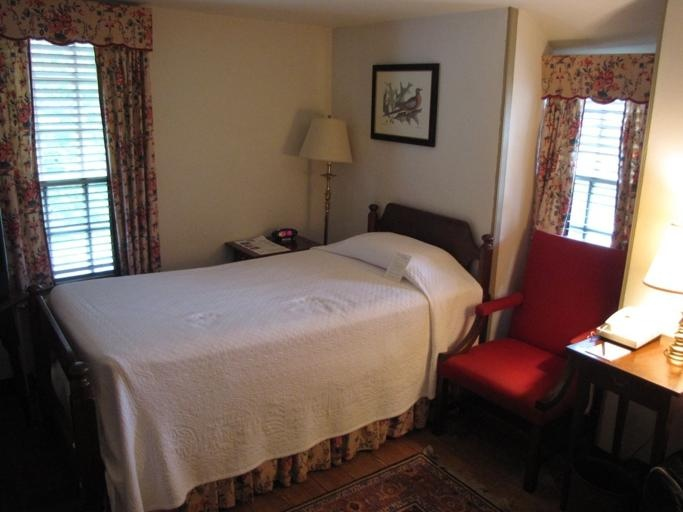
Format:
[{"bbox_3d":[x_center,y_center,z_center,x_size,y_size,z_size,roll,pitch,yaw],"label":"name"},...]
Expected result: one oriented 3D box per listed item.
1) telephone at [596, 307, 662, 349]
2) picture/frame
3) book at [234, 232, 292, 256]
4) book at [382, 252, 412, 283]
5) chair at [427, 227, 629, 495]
[{"bbox_3d":[1.666,0.389,3.223,0.248,0.349,0.105,9,51,49],"label":"telephone"},{"bbox_3d":[0.523,-1.225,4.416,0.047,0.609,0.633,-10,22,-39],"label":"picture/frame"},{"bbox_3d":[-0.732,-0.077,4.759,0.259,0.066,0.258,-15,30,-35],"label":"book"},{"bbox_3d":[0.393,0.090,3.888,0.043,0.192,0.191,20,44,-10],"label":"book"},{"bbox_3d":[1.253,0.628,3.666,0.911,1.374,1.016,15,21,41],"label":"chair"}]
